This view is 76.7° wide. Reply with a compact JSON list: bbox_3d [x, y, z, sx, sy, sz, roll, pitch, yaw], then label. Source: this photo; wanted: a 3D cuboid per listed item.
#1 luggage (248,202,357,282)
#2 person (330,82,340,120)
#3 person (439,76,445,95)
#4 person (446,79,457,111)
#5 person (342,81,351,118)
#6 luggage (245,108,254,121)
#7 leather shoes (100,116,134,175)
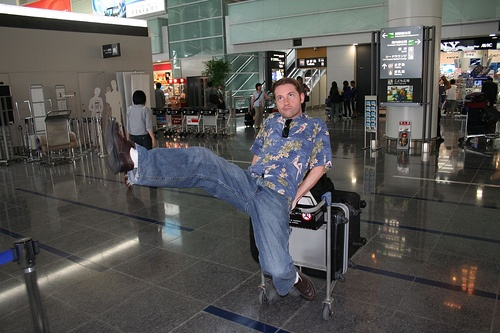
[{"bbox_3d":[0.471,0.646,2.774,0.857,0.771,0.473,0,5,35],"label":"luggage"},{"bbox_3d":[4.497,-3.509,16.865,0.563,1.906,1.133,2,16,14],"label":"person"},{"bbox_3d":[9.912,-4.191,16.438,0.269,0.916,1.318,7,18,30],"label":"person"},{"bbox_3d":[9.957,-3.456,15.849,0.442,1.777,1.536,7,18,30],"label":"person"},{"bbox_3d":[5.090,-3.523,16.745,0.444,1.907,1.058,3,16,17],"label":"person"},{"bbox_3d":[0.029,-2.365,14.654,0.370,0.621,0.656,9,11,26],"label":"luggage"},{"bbox_3d":[-0.893,-0.105,2.131,0.199,0.417,0.140,0,-11,-21],"label":"leather shoes"}]
